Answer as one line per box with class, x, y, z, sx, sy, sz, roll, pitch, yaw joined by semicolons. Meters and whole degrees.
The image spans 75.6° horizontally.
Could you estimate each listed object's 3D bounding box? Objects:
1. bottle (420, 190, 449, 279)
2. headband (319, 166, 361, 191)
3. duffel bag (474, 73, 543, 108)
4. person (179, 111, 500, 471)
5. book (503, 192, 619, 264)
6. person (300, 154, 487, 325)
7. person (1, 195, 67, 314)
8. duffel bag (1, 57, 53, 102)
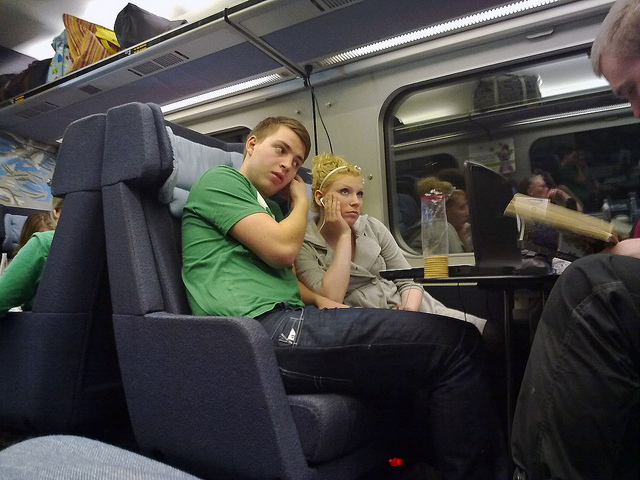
bottle;0.489;-0.015;1.771;0.111;0.343;0.102;-3;3;0
headband;0.089;-0.282;1.902;0.187;0.086;0.083;-3;-1;-2
duffel bag;1.329;-1.030;2.925;0.278;0.099;0.216;1;4;33
person;0.110;0.242;1.888;1.227;1.477;1.083;-5;-15;21
book;0.699;-0.073;1.212;0.288;0.080;0.357;22;9;40
person;0.320;0.019;2.201;0.941;1.031;0.677;-12;-10;32
person;-1.237;0.021;1.783;0.234;0.517;0.941;-2;-2;-33
duffel bag;-3.420;-1.842;4.752;0.981;0.408;0.184;-4;-1;29
